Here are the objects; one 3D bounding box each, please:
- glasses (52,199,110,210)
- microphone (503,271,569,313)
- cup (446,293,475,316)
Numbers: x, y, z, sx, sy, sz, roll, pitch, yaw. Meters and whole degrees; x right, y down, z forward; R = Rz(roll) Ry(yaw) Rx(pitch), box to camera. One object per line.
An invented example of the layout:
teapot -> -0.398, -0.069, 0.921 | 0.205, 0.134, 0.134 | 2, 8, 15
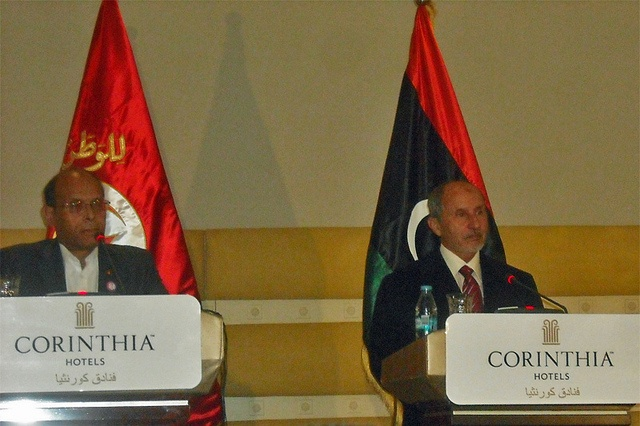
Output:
glasses -> -1.752, -0.058, 10.927 | 0.348, 0.088, 0.063 | 1, -15, -14
microphone -> 1.554, 0.579, 11.049 | 0.121, 0.120, 0.789 | -9, 16, -26
cup -> 0.938, 0.617, 10.303 | 0.139, 0.112, 0.142 | 1, -12, 0
